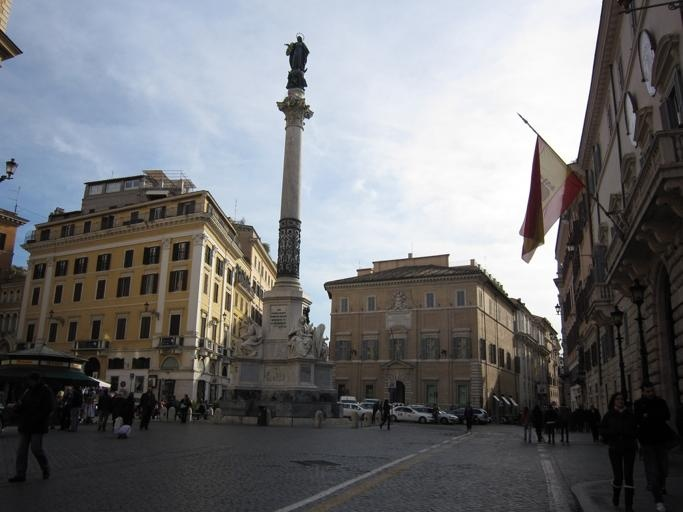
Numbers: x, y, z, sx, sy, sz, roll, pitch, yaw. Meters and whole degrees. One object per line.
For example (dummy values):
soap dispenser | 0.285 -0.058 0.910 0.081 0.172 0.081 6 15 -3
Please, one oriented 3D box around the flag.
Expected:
flag | 7.460 -1.892 19.721 2.062 4.630 1.208 -3 -19 14

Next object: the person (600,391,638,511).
person | 4.660 3.208 9.141 0.507 1.857 0.878 -11 -23 35

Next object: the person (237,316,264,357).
person | -5.231 4.658 31.214 1.482 2.321 0.844 3 -19 -3

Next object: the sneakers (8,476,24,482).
sneakers | -6.088 4.154 10.232 0.266 0.127 0.253 9 -21 -19

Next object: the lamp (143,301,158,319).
lamp | -17.035 4.885 48.785 0.735 1.002 2.456 4 8 -20

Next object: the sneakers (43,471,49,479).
sneakers | -5.708 4.217 10.540 0.116 0.131 0.117 13 -27 -37

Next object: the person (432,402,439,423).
person | 8.527 14.318 49.247 0.479 1.329 0.909 -3 -20 16

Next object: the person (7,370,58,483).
person | -6.190 3.423 11.045 0.769 2.038 1.344 13 -21 -28

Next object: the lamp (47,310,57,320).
lamp | -28.433 5.692 53.554 0.569 0.952 0.910 18 -24 -38

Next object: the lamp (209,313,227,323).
lamp | -12.177 5.973 53.224 1.376 1.325 0.355 1 8 -36
